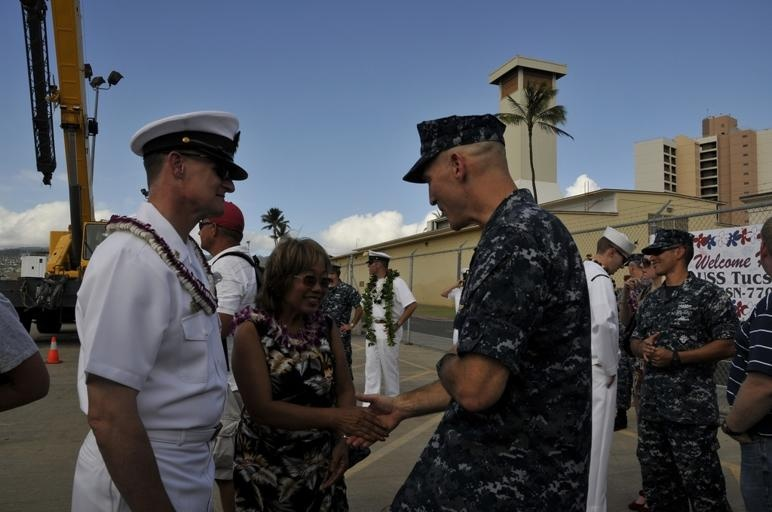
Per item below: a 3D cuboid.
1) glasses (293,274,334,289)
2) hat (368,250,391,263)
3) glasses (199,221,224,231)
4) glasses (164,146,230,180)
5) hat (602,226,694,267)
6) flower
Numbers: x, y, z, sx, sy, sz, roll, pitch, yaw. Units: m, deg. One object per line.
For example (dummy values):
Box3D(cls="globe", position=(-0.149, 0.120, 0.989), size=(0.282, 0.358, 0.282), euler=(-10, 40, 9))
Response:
Box3D(cls="glasses", position=(-0.548, 0.189, 4.803), size=(0.311, 0.103, 0.077), euler=(-1, -1, -34))
Box3D(cls="hat", position=(-0.122, 0.012, 10.860), size=(0.287, 0.138, 0.242), euler=(0, -2, -37))
Box3D(cls="glasses", position=(-1.590, -0.280, 5.767), size=(0.225, 0.068, 0.215), euler=(3, 3, 1))
Box3D(cls="glasses", position=(-1.162, -0.589, 4.063), size=(0.243, 0.071, 0.185), euler=(19, -4, -22))
Box3D(cls="hat", position=(2.841, -0.137, 6.701), size=(0.570, 0.350, 0.563), euler=(0, 1, -31))
Box3D(cls="flower", position=(-0.765, 0.489, 4.805), size=(0.473, 0.171, 0.394), euler=(14, -2, 35))
